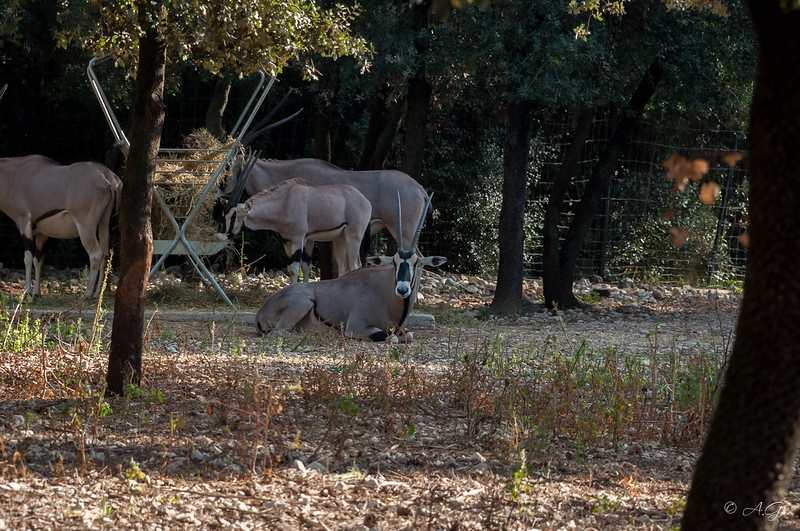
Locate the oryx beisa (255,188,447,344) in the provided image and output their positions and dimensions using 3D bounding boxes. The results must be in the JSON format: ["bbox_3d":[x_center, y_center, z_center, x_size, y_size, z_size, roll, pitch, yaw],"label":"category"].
[{"bbox_3d":[-0.576,0.409,12.208,2.430,1.977,0.951,-12,-6,17],"label":"oryx beisa"}]
